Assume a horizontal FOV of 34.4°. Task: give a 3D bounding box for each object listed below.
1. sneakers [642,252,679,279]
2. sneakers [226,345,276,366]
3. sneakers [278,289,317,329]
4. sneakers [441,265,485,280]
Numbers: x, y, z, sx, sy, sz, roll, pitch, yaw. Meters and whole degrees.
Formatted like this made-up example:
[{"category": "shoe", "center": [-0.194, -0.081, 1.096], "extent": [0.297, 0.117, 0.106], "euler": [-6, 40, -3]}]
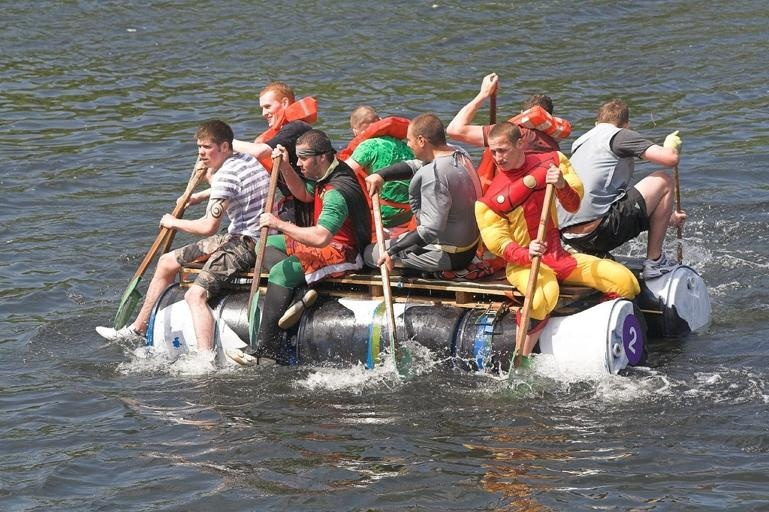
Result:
[{"category": "sneakers", "center": [3.704, 0.125, 16.588], "extent": [0.663, 0.224, 0.247], "euler": [-15, 13, -27]}, {"category": "sneakers", "center": [-1.769, 1.332, 16.311], "extent": [0.749, 0.231, 0.231], "euler": [10, 7, 9]}, {"category": "sneakers", "center": [-1.163, 0.698, 16.142], "extent": [0.639, 0.216, 0.233], "euler": [-35, 40, -10]}, {"category": "sneakers", "center": [1.022, 0.229, 16.006], "extent": [0.689, 0.200, 0.168], "euler": [-4, 10, 3]}]
